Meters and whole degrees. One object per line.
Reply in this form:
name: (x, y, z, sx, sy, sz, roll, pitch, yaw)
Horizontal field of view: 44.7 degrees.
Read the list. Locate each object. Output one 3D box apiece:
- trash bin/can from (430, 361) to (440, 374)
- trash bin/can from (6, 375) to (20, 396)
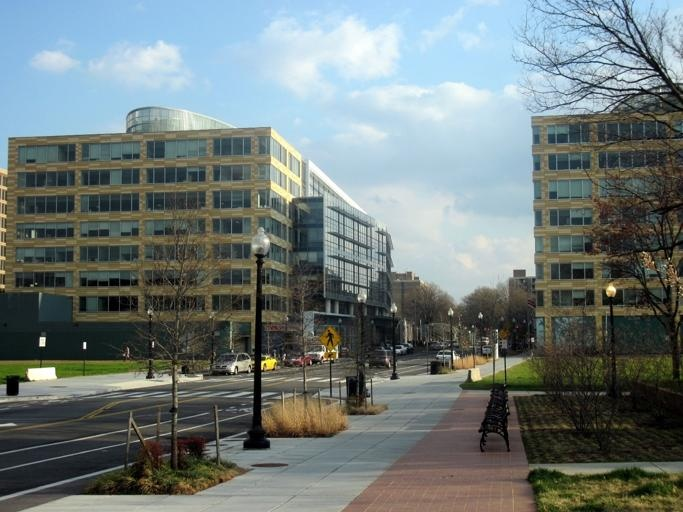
trash bin/can: (6.562, 7.979, 59.767, 0.764, 0.912, 0.789, 0, -3, 31)
trash bin/can: (-17.094, 6.658, 43.038, 0.545, 0.935, 0.967, 0, -8, -19)
